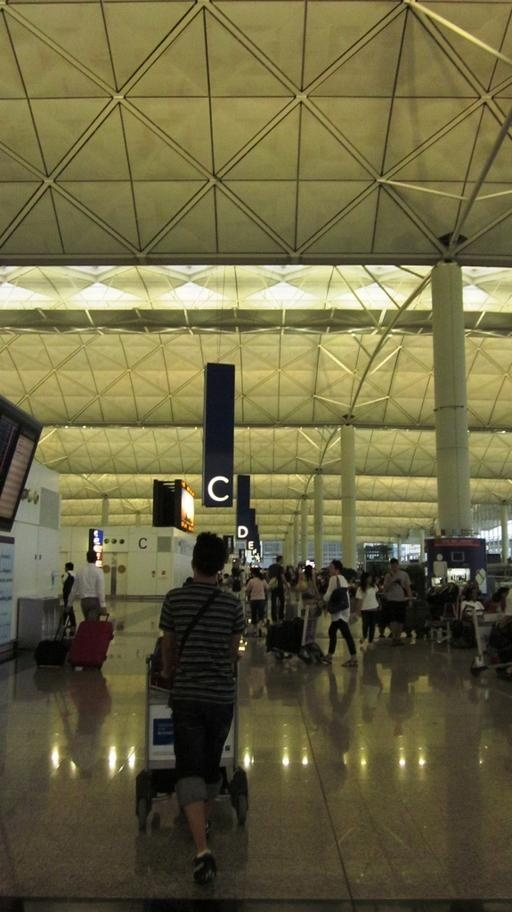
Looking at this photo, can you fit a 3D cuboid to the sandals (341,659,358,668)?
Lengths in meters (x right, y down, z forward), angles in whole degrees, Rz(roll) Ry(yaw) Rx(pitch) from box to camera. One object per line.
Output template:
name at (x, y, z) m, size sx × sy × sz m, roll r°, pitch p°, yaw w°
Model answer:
sandals at (1.721, 3.767, 11.314) m, size 0.248 × 0.205 × 0.350 m, roll -2°, pitch -8°, yaw 10°

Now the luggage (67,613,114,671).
luggage at (-2.933, 3.367, 10.953) m, size 0.665 × 0.960 × 0.695 m, roll 8°, pitch -4°, yaw -22°

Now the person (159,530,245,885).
person at (-0.282, 1.176, 3.170) m, size 0.425 × 1.761 × 0.445 m, roll 5°, pitch -7°, yaw -3°

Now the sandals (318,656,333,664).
sandals at (1.367, 3.949, 11.989) m, size 0.241 × 0.152 × 0.497 m, roll -1°, pitch -9°, yaw 7°
